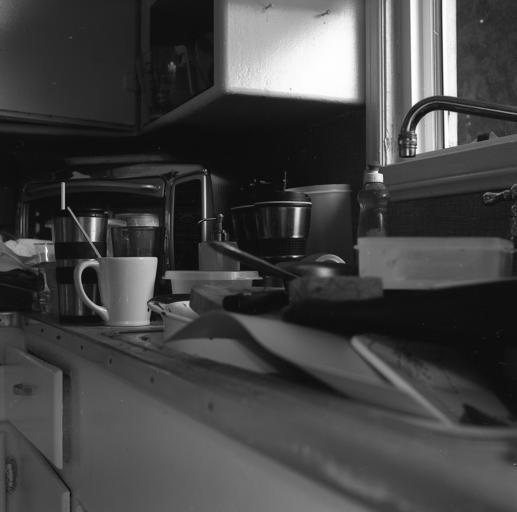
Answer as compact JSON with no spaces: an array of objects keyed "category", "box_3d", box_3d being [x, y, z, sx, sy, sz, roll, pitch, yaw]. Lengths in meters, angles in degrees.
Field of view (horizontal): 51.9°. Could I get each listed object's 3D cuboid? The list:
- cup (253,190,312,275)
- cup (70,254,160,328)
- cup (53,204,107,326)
[{"category":"cup","box_3d":[0.047,-0.052,0.932,0.111,0.118,0.095,1,-1,-43]},{"category":"cup","box_3d":[-0.209,0.054,0.757,0.082,0.101,0.126,-5,-5,43]},{"category":"cup","box_3d":[-0.274,0.022,0.842,0.087,0.180,0.130,3,-3,-41]}]
